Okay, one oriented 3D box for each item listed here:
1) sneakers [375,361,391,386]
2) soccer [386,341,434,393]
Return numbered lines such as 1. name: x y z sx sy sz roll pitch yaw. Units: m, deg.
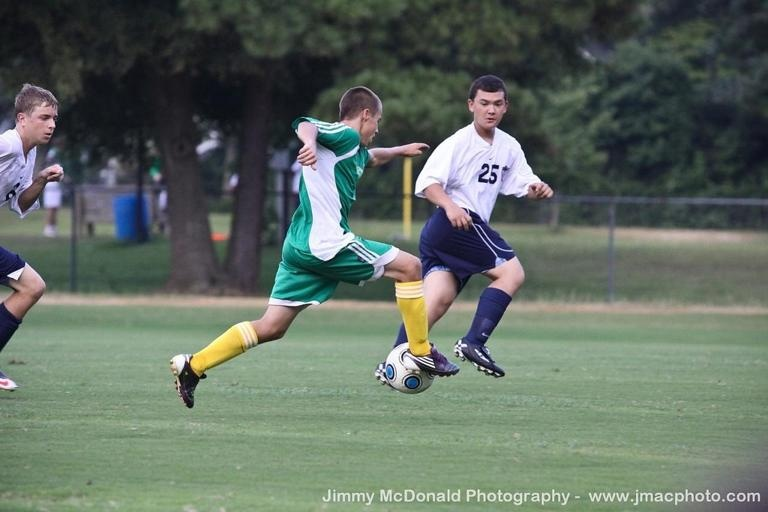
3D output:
1. sneakers: -0.013 1.173 12.593 0.163 0.214 0.092 0 -2 34
2. soccer: 0.233 1.206 12.545 0.390 0.381 0.395 2 11 27
